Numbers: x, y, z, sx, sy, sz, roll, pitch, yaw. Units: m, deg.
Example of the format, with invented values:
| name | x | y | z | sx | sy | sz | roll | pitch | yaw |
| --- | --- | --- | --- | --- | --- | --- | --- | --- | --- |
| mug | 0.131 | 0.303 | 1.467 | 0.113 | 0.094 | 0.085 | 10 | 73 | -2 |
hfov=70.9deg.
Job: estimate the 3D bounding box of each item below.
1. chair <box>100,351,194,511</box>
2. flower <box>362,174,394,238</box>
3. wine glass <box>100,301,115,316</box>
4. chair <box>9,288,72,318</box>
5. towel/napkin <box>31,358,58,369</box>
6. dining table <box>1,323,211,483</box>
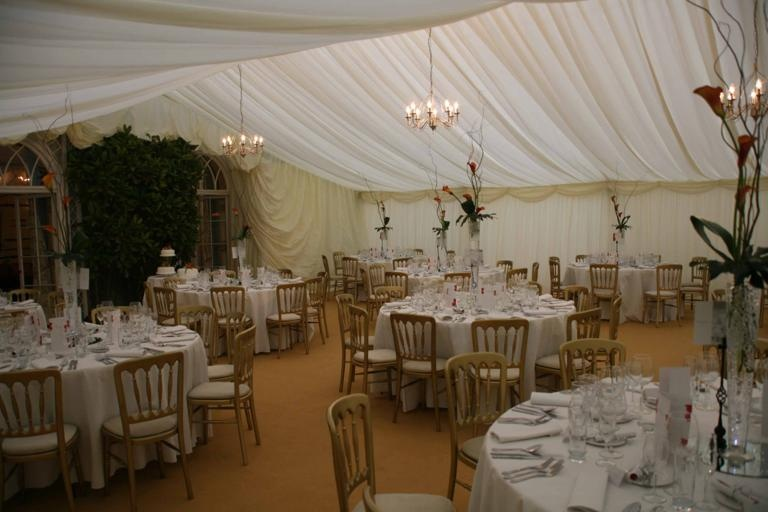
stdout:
| name | x | y | z | sx | sy | sz | roll | pitch | yaw |
| --- | --- | --- | --- | --- | --- | --- | --- | --- | --- |
| chair | -2.386 | 1.684 | 5.400 | 0.812 | 1.136 | 0.760 | -1 | 0 | -31 |
| flower | -0.165 | -1.207 | 15.180 | 0.757 | 1.703 | 2.166 | -1 | -1 | 1 |
| wine glass | -3.487 | 0.657 | 6.772 | 0.122 | 0.204 | 0.124 | 6 | 14 | -2 |
| chair | -5.582 | 0.758 | 8.707 | 0.479 | 0.776 | 0.499 | 0 | -2 | -8 |
| towel/napkin | -3.437 | 1.081 | 5.470 | 0.182 | 0.070 | 0.210 | 11 | 8 | 6 |
| dining table | -2.667 | 1.404 | 5.751 | 1.230 | 0.867 | 1.381 | 2 | 8 | 12 |
